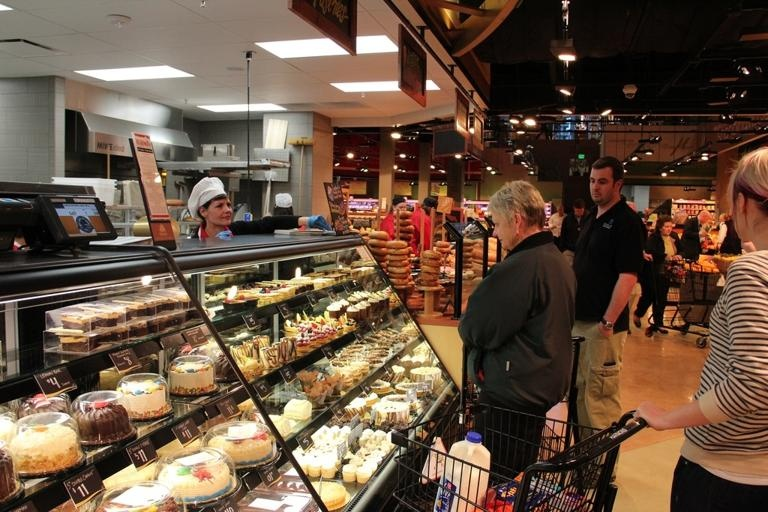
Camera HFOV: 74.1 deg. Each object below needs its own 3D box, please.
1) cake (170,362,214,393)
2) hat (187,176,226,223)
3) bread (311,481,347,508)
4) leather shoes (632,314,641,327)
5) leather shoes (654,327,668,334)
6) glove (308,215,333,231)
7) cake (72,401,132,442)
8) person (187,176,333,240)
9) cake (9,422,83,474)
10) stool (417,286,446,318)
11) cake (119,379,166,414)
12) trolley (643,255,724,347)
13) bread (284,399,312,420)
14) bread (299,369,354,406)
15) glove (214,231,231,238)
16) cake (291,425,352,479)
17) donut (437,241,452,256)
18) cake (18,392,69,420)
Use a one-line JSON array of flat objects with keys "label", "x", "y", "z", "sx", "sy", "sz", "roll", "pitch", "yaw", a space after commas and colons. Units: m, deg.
[{"label": "cake", "x": -0.860, "y": 0.549, "z": 2.267, "sx": 0.163, "sy": 0.096, "sz": 0.153, "roll": 1, "pitch": -4, "yaw": 11}, {"label": "hat", "x": -1.454, "y": -0.469, "z": 4.157, "sx": 0.348, "sy": 0.343, "sz": 0.280, "roll": -6, "pitch": 11, "yaw": 2}, {"label": "bread", "x": -0.268, "y": 1.236, "z": 2.654, "sx": 0.153, "sy": 0.028, "sz": 0.154, "roll": 4, "pitch": 0, "yaw": 41}, {"label": "leather shoes", "x": 4.671, "y": 1.197, "z": 9.403, "sx": 0.112, "sy": 0.112, "sz": 0.284, "roll": -1, "pitch": 45, "yaw": 10}, {"label": "leather shoes", "x": 4.868, "y": 1.294, "z": 8.906, "sx": 0.096, "sy": 0.109, "sz": 0.269, "roll": 2, "pitch": 4, "yaw": 19}, {"label": "glove", "x": -0.555, "y": -0.278, "z": 4.380, "sx": 0.303, "sy": 0.118, "sz": 0.096, "roll": 8, "pitch": 0, "yaw": 37}, {"label": "cake", "x": -1.082, "y": 0.641, "z": 1.956, "sx": 0.175, "sy": 0.089, "sz": 0.166, "roll": 0, "pitch": -4, "yaw": 16}, {"label": "person", "x": -1.062, "y": -0.342, "z": 4.296, "sx": 1.033, "sy": 0.410, "sz": 0.698, "roll": -2, "pitch": 7, "yaw": 2}, {"label": "cake", "x": -1.207, "y": 0.692, "z": 1.805, "sx": 0.189, "sy": 0.081, "sz": 0.177, "roll": 2, "pitch": 2, "yaw": 7}, {"label": "stool", "x": 0.419, "y": 0.420, "z": 4.734, "sx": 0.292, "sy": 0.277, "sz": 0.273, "roll": -1, "pitch": -3, "yaw": -10}, {"label": "cake", "x": -1.002, "y": 0.573, "z": 2.121, "sx": 0.171, "sy": 0.102, "sz": 0.163, "roll": -1, "pitch": -3, "yaw": 2}, {"label": "trolley", "x": 5.625, "y": 0.780, "z": 9.251, "sx": 0.778, "sy": 1.131, "sz": 1.260, "roll": 18, "pitch": -15, "yaw": 31}, {"label": "bread", "x": -0.496, "y": 0.873, "z": 2.902, "sx": 0.130, "sy": 0.070, "sz": 0.123, "roll": 2, "pitch": 0, "yaw": 10}, {"label": "bread", "x": -0.386, "y": 0.788, "z": 3.102, "sx": 0.247, "sy": 0.073, "sz": 0.233, "roll": 5, "pitch": 11, "yaw": 30}, {"label": "glove", "x": -1.198, "y": -0.166, "z": 3.785, "sx": 0.094, "sy": 0.027, "sz": 0.088, "roll": 1, "pitch": 4, "yaw": 3}, {"label": "cake", "x": -0.341, "y": 1.118, "z": 2.892, "sx": 0.262, "sy": 0.062, "sz": 0.245, "roll": 2, "pitch": 13, "yaw": 7}, {"label": "donut", "x": 0.618, "y": -0.085, "z": 5.241, "sx": 0.194, "sy": 0.153, "sz": 0.189, "roll": -1, "pitch": 3, "yaw": 30}, {"label": "cake", "x": -1.298, "y": 0.564, "z": 1.960, "sx": 0.132, "sy": 0.110, "sz": 0.123, "roll": 1, "pitch": -6, "yaw": 0}]
